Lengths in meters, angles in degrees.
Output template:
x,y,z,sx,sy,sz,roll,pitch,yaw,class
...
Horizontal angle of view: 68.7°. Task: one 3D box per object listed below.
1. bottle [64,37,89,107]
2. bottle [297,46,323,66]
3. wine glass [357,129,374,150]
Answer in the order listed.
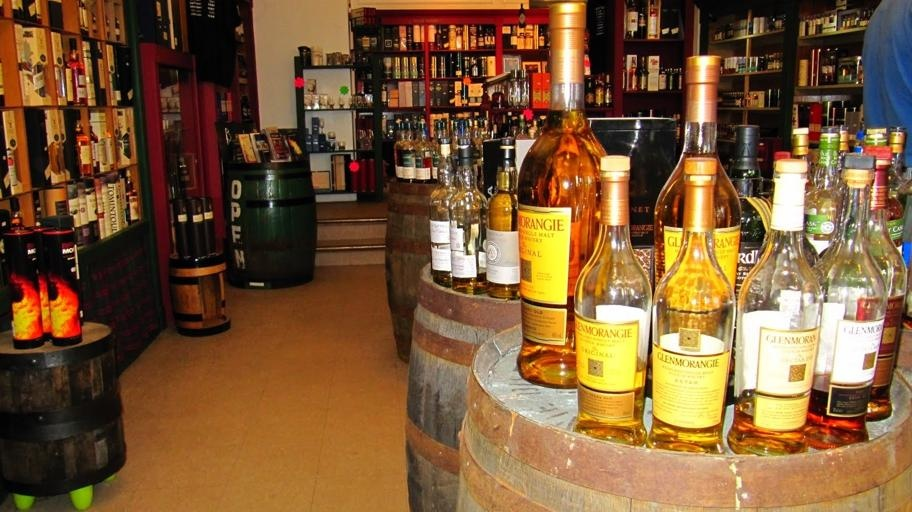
x,y,z,sx,sy,sz,roll,pitch,yaw,class
-2.464,-1.200,4.303,0.073,0.422,0.224,-3,14,-7,bottle
-1.859,-2.598,8.649,0.355,0.311,0.203,-3,18,-8,bottle
-1.213,-1.563,8.886,0.292,0.254,0.226,0,12,-2,wine glass
